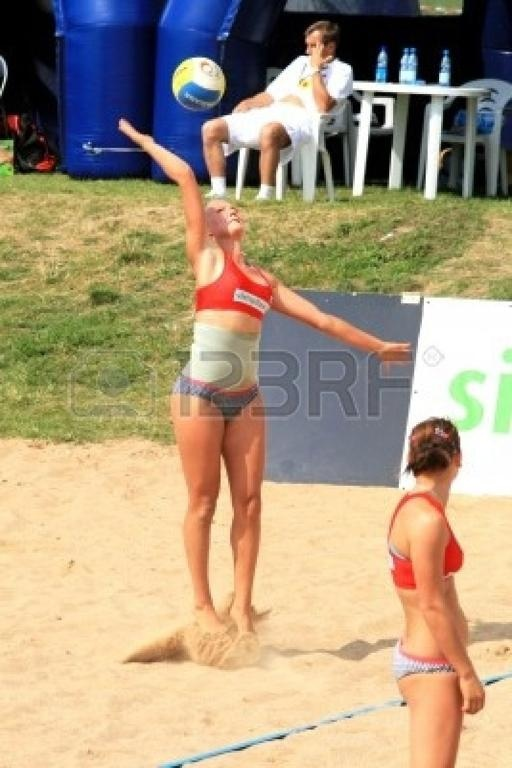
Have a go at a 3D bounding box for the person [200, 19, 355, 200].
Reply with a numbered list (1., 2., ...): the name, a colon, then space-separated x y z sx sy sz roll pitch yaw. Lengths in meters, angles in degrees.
1. person: 0.192 -2.354 8.934 1.323 1.621 0.805 -10 22 -44
